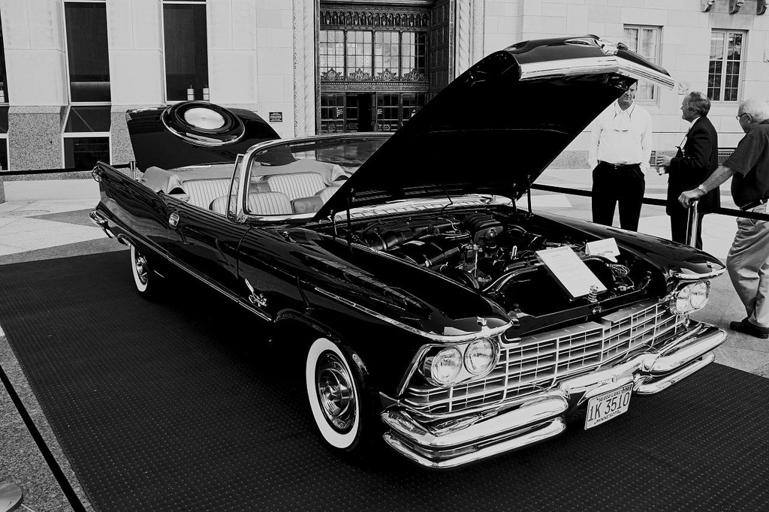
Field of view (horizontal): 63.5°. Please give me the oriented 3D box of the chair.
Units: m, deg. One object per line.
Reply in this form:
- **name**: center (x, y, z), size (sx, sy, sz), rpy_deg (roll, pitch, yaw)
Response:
- **chair**: center (-1.058, -0.600, 5.903), size (1.611, 0.590, 0.490), rpy_deg (-5, 10, -31)

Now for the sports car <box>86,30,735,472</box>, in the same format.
- **sports car**: center (-0.352, -0.225, 5.574), size (2.887, 2.234, 4.868), rpy_deg (-13, 23, -38)
